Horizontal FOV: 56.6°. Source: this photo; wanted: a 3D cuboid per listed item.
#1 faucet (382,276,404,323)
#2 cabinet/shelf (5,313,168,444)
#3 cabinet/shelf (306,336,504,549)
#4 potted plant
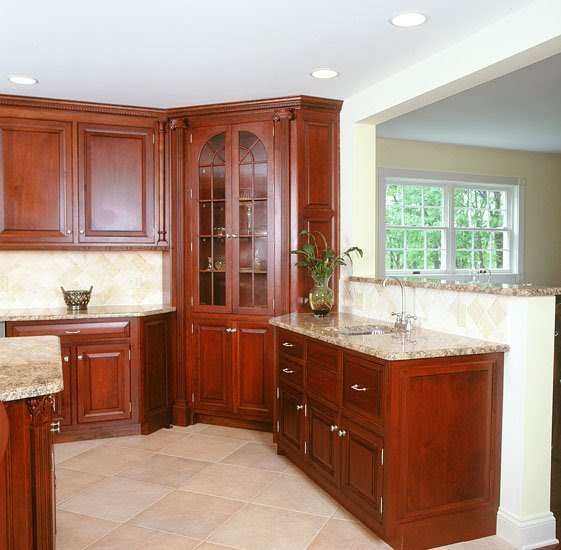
[{"bbox_3d":[0.669,0.154,3.090,0.128,0.285,0.586,0,2,11],"label":"faucet"},{"bbox_3d":[-1.182,0.628,3.200,1.095,0.695,0.399,0,0,-22],"label":"cabinet/shelf"},{"bbox_3d":[0.674,0.770,3.005,0.841,1.180,1.318,-1,0,-17],"label":"cabinet/shelf"},{"bbox_3d":[0.325,-0.022,3.765,0.500,0.615,0.442,0,2,6],"label":"potted plant"}]
